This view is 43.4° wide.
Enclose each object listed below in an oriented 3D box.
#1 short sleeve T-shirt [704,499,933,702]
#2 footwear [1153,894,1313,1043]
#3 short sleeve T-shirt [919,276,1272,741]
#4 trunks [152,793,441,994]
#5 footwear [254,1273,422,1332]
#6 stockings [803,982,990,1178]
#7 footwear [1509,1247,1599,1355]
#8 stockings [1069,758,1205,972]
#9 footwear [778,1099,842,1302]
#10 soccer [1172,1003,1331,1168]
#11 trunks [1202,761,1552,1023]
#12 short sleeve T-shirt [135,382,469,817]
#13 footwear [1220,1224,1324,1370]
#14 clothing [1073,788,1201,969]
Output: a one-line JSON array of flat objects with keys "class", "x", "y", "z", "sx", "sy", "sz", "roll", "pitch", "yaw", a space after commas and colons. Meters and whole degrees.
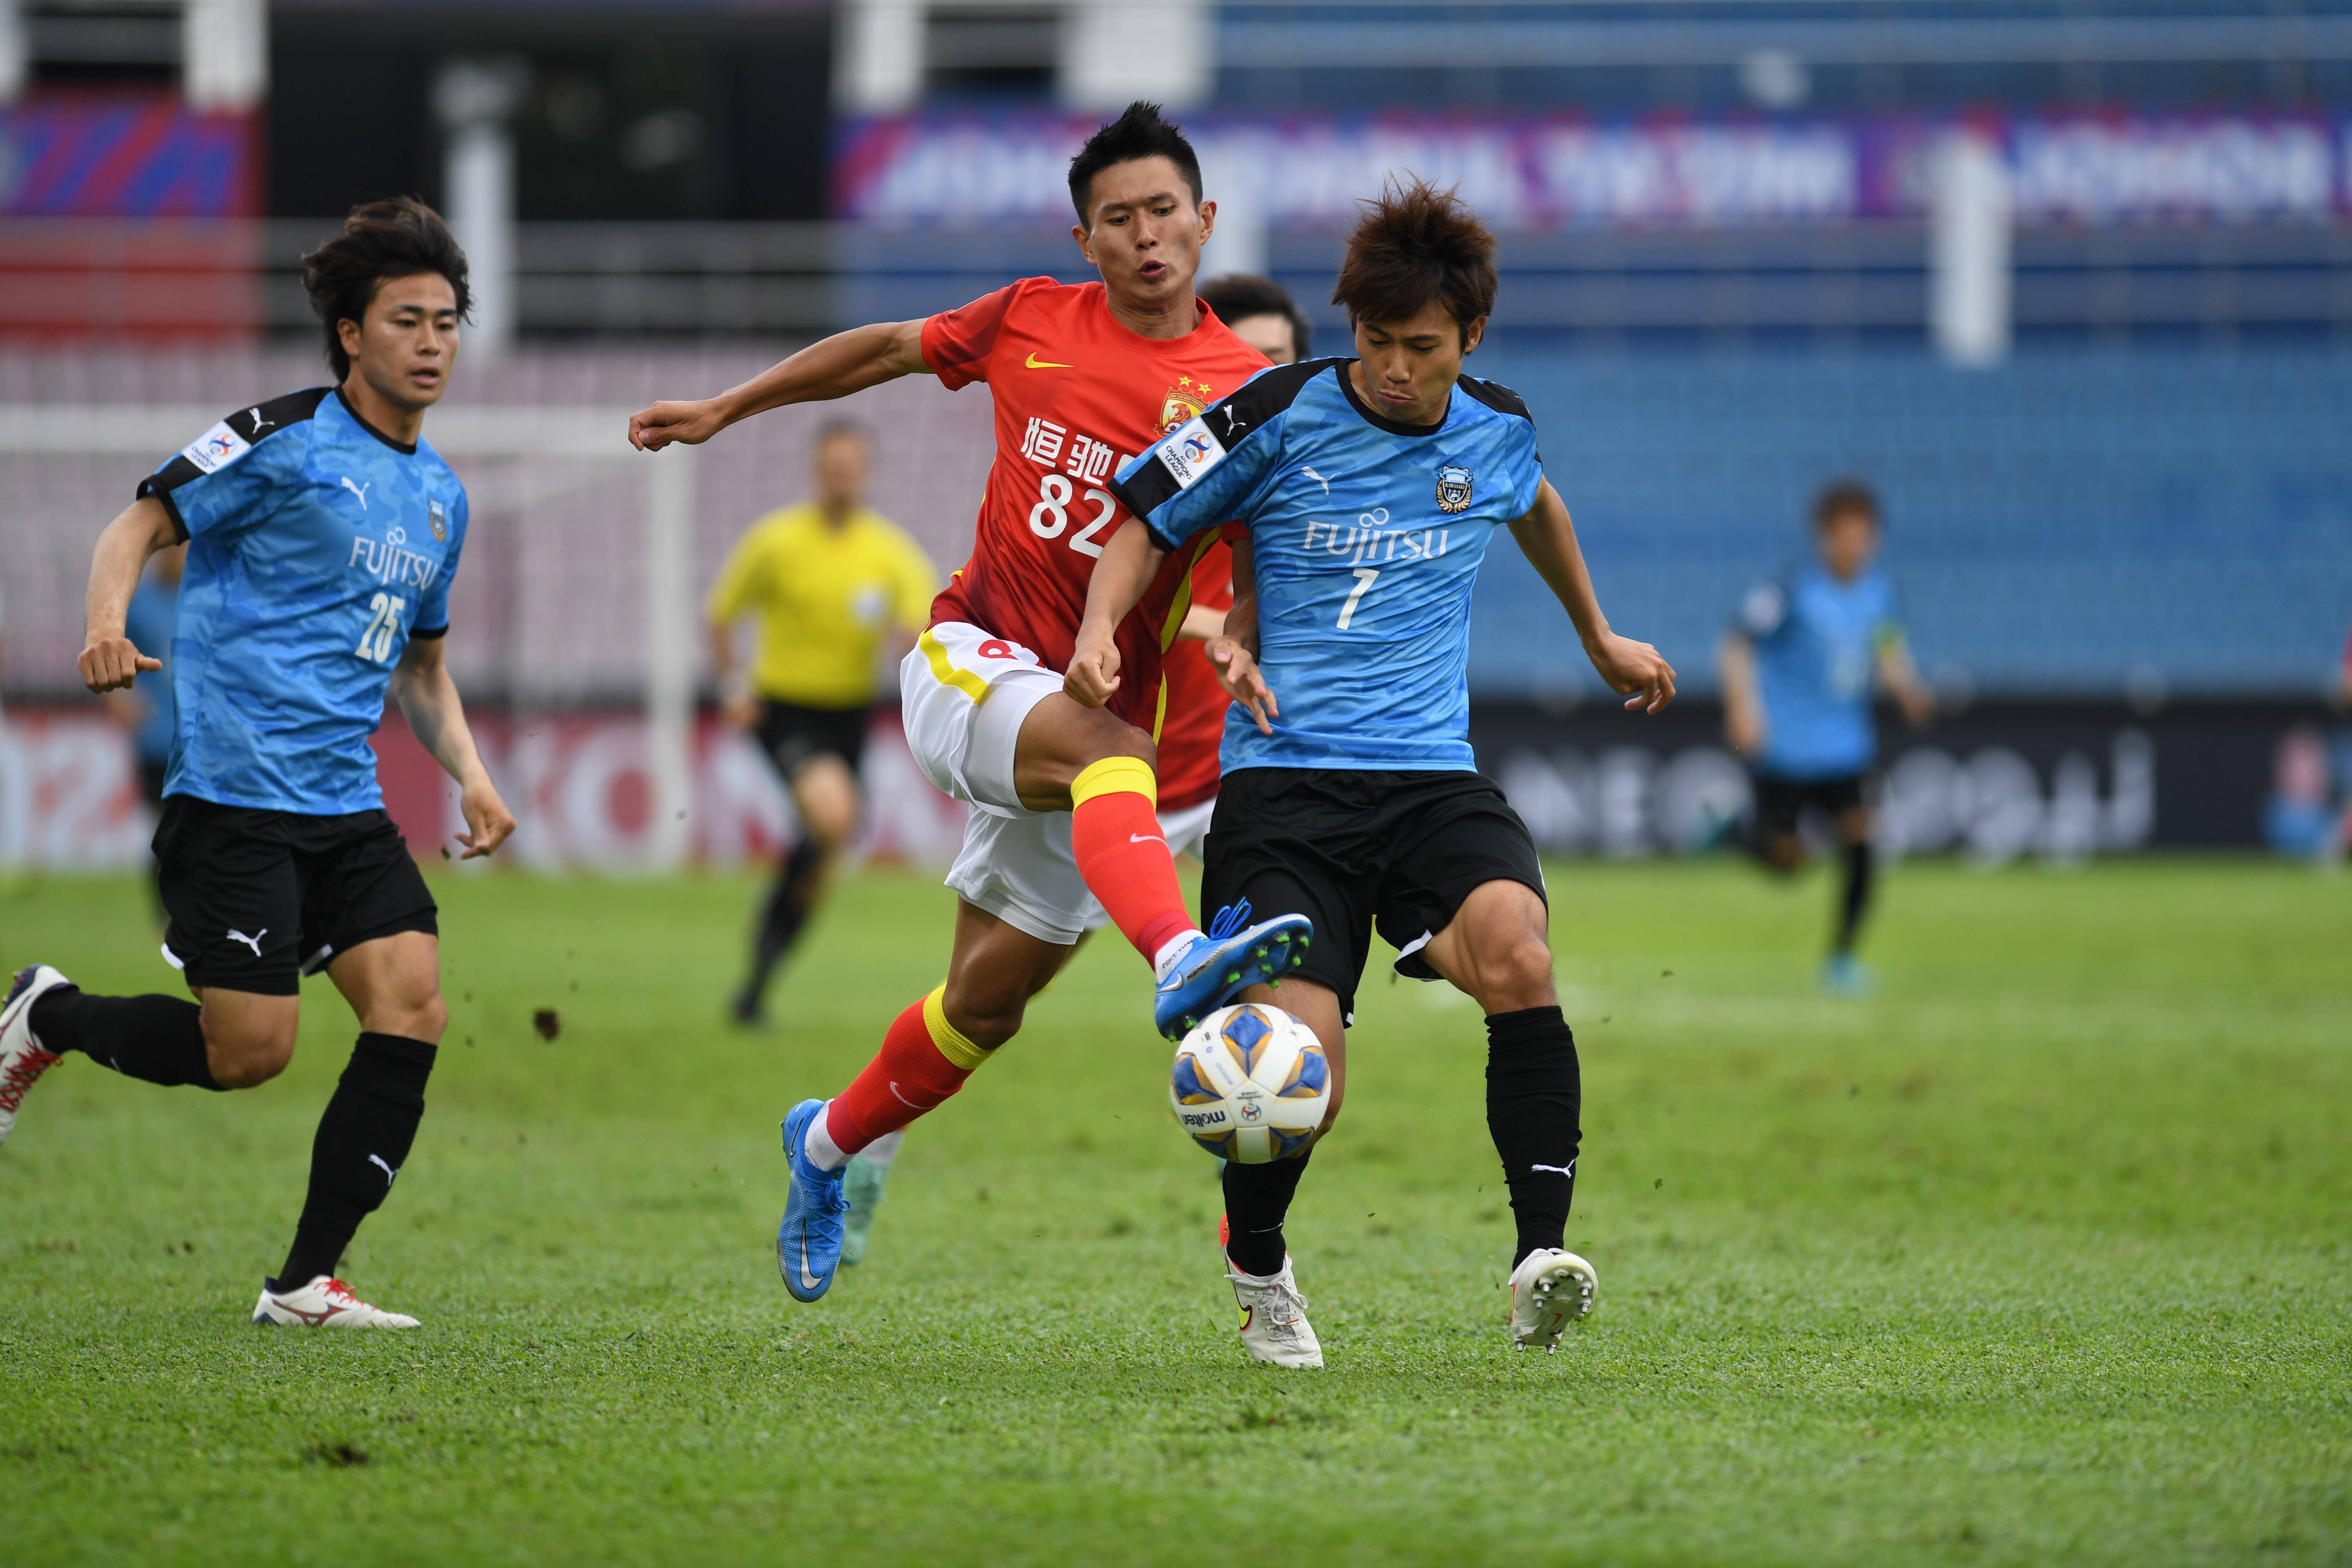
[{"class": "short sleeve T-shirt", "x": -1.993, "y": -1.003, "z": 16.387, "sx": 1.465, "sy": 1.304, "sz": 0.605, "roll": 7, "pitch": -24, "yaw": -6}, {"class": "footwear", "x": 0.187, "y": 0.582, "z": 9.112, "sx": 0.137, "sy": 0.399, "sz": 0.220, "roll": 43, "pitch": 11, "yaw": -39}, {"class": "short sleeve T-shirt", "x": -0.215, "y": -0.906, "z": 9.832, "sx": 1.369, "sy": 1.216, "sz": 0.512, "roll": 26, "pitch": 0, "yaw": -2}, {"class": "trunks", "x": -2.948, "y": 0.529, "z": 9.875, "sx": 1.018, "sy": 0.791, "sz": 0.582, "roll": -1, "pitch": -6, "yaw": -32}, {"class": "footwear", "x": -2.766, "y": 1.715, "z": 9.723, "sx": 0.607, "sy": 0.225, "sz": 0.209, "roll": 2, "pitch": -3, "yaw": -1}, {"class": "stockings", "x": -0.945, "y": 1.042, "z": 10.201, "sx": 0.366, "sy": 0.340, "sz": 1.066, "roll": 22, "pitch": -46, "yaw": -32}, {"class": "footwear", "x": 1.156, "y": 1.591, "z": 9.138, "sx": 0.262, "sy": 0.322, "sz": 0.208, "roll": 1, "pitch": 6, "yaw": 13}, {"class": "stockings", "x": -0.144, "y": 0.213, "z": 9.361, "sx": 0.252, "sy": 0.829, "sz": 0.257, "roll": 8, "pitch": -42, "yaw": -27}, {"class": "footwear", "x": -1.256, "y": 1.451, "z": 10.185, "sx": 0.213, "sy": 0.693, "sz": 0.256, "roll": 5, "pitch": -17, "yaw": -36}, {"class": "soccer", "x": 0.236, "y": 0.973, "z": 9.139, "sx": 0.450, "sy": 0.502, "sz": 0.454, "roll": -1, "pitch": -15, "yaw": 0}, {"class": "trunks", "x": 0.611, "y": 0.335, "z": 9.422, "sx": 1.145, "sy": 0.889, "sz": 0.452, "roll": 1, "pitch": -19, "yaw": -4}, {"class": "short sleeve T-shirt", "x": -2.901, "y": -0.589, "z": 10.004, "sx": 0.628, "sy": 1.515, "sz": 1.261, "roll": 5, "pitch": -7, "yaw": 35}, {"class": "footwear", "x": 0.307, "y": 1.680, "z": 9.545, "sx": 0.212, "sy": 0.536, "sz": 0.206, "roll": -15, "pitch": -6, "yaw": -1}, {"class": "clothing", "x": -0.136, "y": 0.280, "z": 9.437, "sx": 0.271, "sy": 0.624, "sz": 0.266, "roll": -17, "pitch": -30, "yaw": -3}]
